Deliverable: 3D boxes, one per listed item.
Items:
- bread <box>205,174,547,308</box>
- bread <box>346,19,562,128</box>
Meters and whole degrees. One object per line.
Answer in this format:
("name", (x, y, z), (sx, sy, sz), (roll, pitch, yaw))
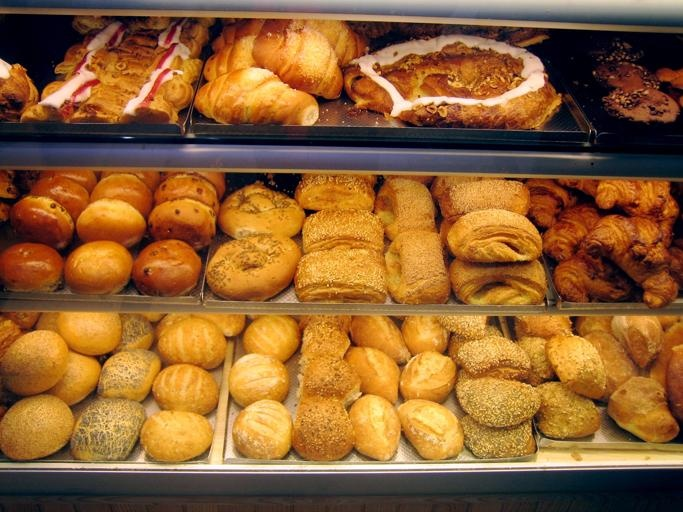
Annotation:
("bread", (0.108, -0.033, 1.989), (1.027, 0.221, 0.505), (1, 54, -1))
("bread", (0.334, -0.552, 1.738), (0.543, 0.077, 0.322), (2, 44, 4))
